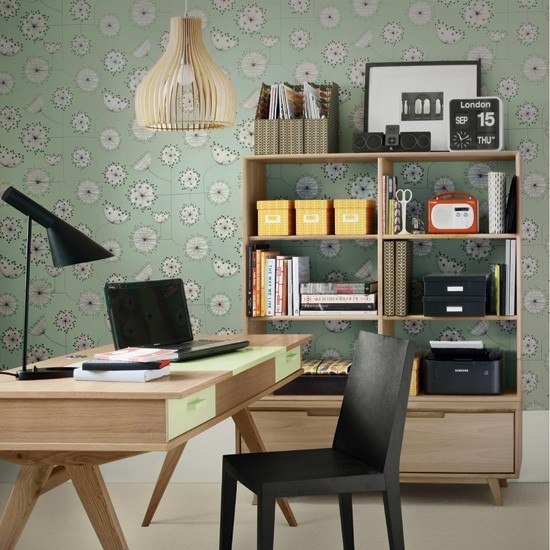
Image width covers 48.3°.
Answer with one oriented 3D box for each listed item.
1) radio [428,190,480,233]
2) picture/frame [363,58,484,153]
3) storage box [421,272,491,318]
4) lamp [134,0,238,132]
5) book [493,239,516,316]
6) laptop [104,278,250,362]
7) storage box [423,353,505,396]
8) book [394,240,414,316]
[{"bbox_3d":[0.888,-0.304,3.025,0.297,0.219,0.087,0,-3,6],"label":"radio"},{"bbox_3d":[0.797,-0.867,3.176,0.688,0.449,0.025,0,-2,3],"label":"picture/frame"},{"bbox_3d":[0.881,0.090,2.971,0.259,0.136,0.238,0,1,8],"label":"storage box"},{"bbox_3d":[-0.329,-0.764,2.363,0.367,0.398,0.362,-3,11,-39],"label":"lamp"},{"bbox_3d":[1.122,0.010,2.980,0.085,0.371,0.119,1,10,-22],"label":"book"},{"bbox_3d":[-0.365,0.125,2.161,0.328,0.235,0.435,-3,-2,17],"label":"laptop"},{"bbox_3d":[0.925,0.494,3.004,0.268,0.109,0.245,0,-3,5],"label":"storage box"},{"bbox_3d":[0.660,0.002,3.144,0.105,0.369,0.310,6,9,12],"label":"book"}]
